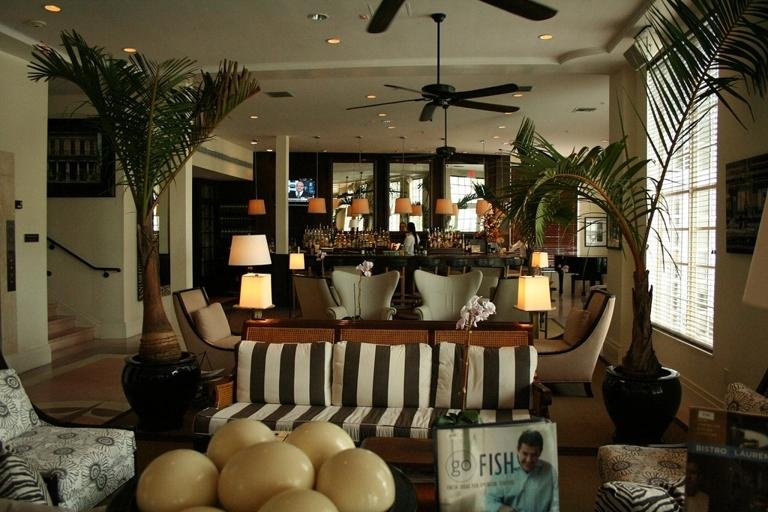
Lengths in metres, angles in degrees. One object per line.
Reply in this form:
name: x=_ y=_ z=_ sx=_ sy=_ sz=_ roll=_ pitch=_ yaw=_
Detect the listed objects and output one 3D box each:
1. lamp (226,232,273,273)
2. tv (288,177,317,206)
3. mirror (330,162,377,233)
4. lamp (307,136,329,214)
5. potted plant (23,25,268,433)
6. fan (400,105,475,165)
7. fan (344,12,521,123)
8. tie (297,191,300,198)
lamp: x=-1.437 y=0.017 z=5.980 sx=0.463 sy=0.513 sz=0.470 roll=4 pitch=7 yaw=38
tv: x=-2.053 y=-1.523 z=14.312 sx=0.970 sy=0.725 sz=0.539 roll=2 pitch=4 yaw=0
mirror: x=-0.774 y=-1.515 z=14.390 sx=1.122 sy=2.043 sz=0.102 roll=2 pitch=28 yaw=2
lamp: x=-1.556 y=-1.872 z=12.718 sx=0.429 sy=1.816 sz=0.428 roll=-3 pitch=2 yaw=-9
potted plant: x=-2.428 y=-0.103 z=5.460 sx=2.003 sy=3.543 sz=2.077 roll=4 pitch=8 yaw=2
fan: x=0.988 y=-2.092 z=8.852 sx=0.994 sy=1.161 sz=0.990 roll=-3 pitch=-9 yaw=21
fan: x=0.570 y=-2.281 z=6.455 sx=1.939 sy=1.097 sz=2.141 roll=3 pitch=15 yaw=24
tie: x=-2.169 y=-1.556 z=14.186 sx=0.113 sy=0.115 sz=0.024 roll=0 pitch=3 yaw=-12
